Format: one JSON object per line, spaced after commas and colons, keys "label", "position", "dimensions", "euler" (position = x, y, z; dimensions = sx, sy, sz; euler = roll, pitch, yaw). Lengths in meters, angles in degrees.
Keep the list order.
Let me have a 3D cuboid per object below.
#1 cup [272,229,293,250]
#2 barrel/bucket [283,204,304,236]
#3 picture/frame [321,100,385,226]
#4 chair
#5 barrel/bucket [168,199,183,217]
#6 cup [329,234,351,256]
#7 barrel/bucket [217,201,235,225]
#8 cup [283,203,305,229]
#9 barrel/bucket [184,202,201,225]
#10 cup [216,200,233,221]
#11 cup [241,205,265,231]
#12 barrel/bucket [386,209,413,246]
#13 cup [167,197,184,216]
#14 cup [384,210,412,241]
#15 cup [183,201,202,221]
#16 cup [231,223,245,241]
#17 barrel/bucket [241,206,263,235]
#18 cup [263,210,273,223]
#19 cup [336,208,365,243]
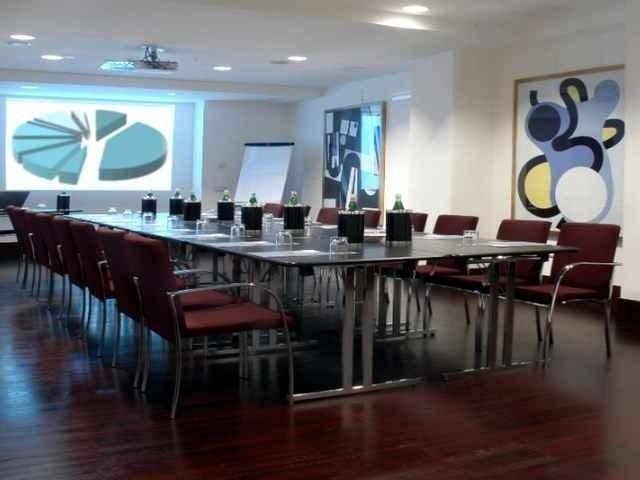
{"label": "cup", "position": [-0.271, 0.000, 3.509], "dimensions": [0.115, 0.180, 0.167], "euler": [-2, 3, -21]}
{"label": "barrel/bucket", "position": [-0.257, -0.173, 4.474], "dimensions": [0.236, 0.289, 0.245], "euler": [0, 4, 0]}
{"label": "picture/frame", "position": [0.614, -1.395, 8.470], "dimensions": [0.102, 2.667, 2.476], "euler": [0, 3, -28]}
{"label": "chair", "position": [0.446, 0.395, 3.722], "dimensions": [3.867, 1.031, 2.186], "euler": [0, 5, -2]}
{"label": "barrel/bucket", "position": [-1.875, -0.415, 6.236], "dimensions": [0.200, 0.311, 0.205], "euler": [1, 7, 0]}
{"label": "cup", "position": [0.123, 0.033, 3.109], "dimensions": [0.106, 0.111, 0.107], "euler": [1, -3, 0]}
{"label": "barrel/bucket", "position": [-1.006, -0.300, 5.339], "dimensions": [0.190, 0.230, 0.201], "euler": [1, -2, 0]}
{"label": "cup", "position": [-0.237, -0.217, 4.457], "dimensions": [0.189, 0.236, 0.197], "euler": [0, -2, 0]}
{"label": "barrel/bucket", "position": [-1.420, -0.299, 5.352], "dimensions": [0.207, 0.301, 0.214], "euler": [0, 8, 0]}
{"label": "cup", "position": [-1.025, -0.317, 5.251], "dimensions": [0.182, 0.221, 0.188], "euler": [1, -1, 0]}
{"label": "cup", "position": [-0.611, -0.190, 4.341], "dimensions": [0.193, 0.223, 0.193], "euler": [1, -2, 0]}
{"label": "barrel/bucket", "position": [0.594, -0.100, 3.657], "dimensions": [0.212, 0.253, 0.222], "euler": [0, 0, 0]}
{"label": "cup", "position": [-1.848, -0.436, 6.274], "dimensions": [0.218, 0.332, 0.224], "euler": [0, 6, 0]}
{"label": "cup", "position": [0.593, -0.102, 3.655], "dimensions": [0.208, 0.249, 0.209], "euler": [0, -1, 0]}
{"label": "cup", "position": [-1.441, -0.340, 5.442], "dimensions": [0.207, 0.309, 0.214], "euler": [0, 8, 0]}
{"label": "cup", "position": [-0.671, -0.058, 3.955], "dimensions": [0.104, 0.114, 0.203], "euler": [1, 42, -9]}
{"label": "barrel/bucket", "position": [-0.614, -0.171, 4.339], "dimensions": [0.211, 0.258, 0.223], "euler": [1, -1, 0]}
{"label": "cup", "position": [-0.637, -0.277, 5.846], "dimensions": [0.109, 0.070, 0.277], "euler": [-4, 9, -15]}
{"label": "cup", "position": [0.215, -0.103, 3.486], "dimensions": [0.199, 0.237, 0.199], "euler": [2, -3, 0]}
